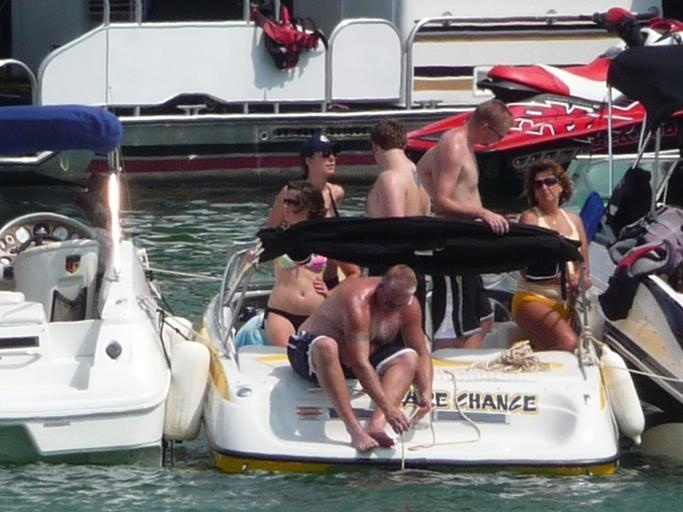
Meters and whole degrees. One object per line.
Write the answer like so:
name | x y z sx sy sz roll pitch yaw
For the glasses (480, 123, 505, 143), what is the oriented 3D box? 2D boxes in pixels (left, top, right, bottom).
glasses | 1.284 -1.047 11.473 0.175 0.054 0.170 36 17 24

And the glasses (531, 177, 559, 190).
glasses | 1.779 -0.643 11.776 0.133 0.051 0.141 -5 -26 14

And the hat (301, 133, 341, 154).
hat | -0.215 -1.003 12.337 0.276 0.159 0.204 -5 -3 23
